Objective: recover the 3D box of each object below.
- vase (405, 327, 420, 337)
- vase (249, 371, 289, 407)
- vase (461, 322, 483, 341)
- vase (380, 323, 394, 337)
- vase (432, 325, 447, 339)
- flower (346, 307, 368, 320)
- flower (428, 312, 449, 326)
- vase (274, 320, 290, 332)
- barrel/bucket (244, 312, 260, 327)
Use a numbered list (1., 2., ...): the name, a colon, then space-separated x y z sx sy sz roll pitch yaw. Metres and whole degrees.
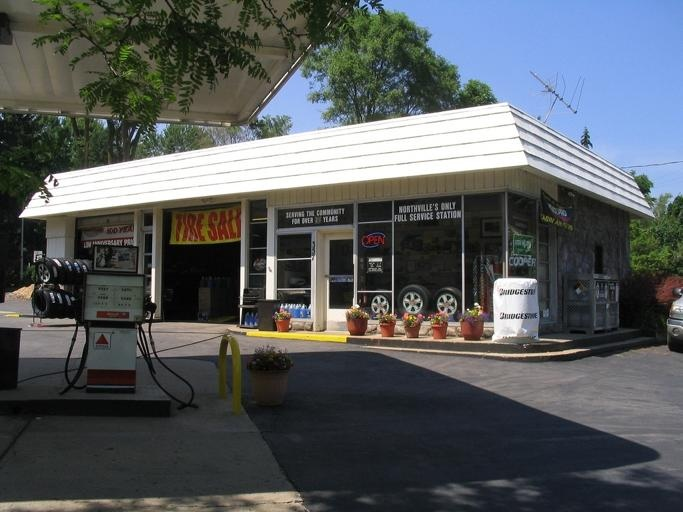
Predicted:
1. vase: 1.904 1.990 15.622 0.289 0.241 0.296 1 -8 4
2. vase: -1.106 1.988 9.157 0.514 0.417 0.510 1 -2 -42
3. vase: 3.368 1.913 15.086 0.466 0.372 0.480 -9 -18 40
4. vase: 1.260 1.997 16.142 0.339 0.282 0.358 -3 -7 30
5. vase: 2.555 1.922 15.236 0.335 0.284 0.360 0 -7 6
6. flower: 0.446 1.595 16.573 0.381 0.246 0.394 4 -2 -24
7. flower: 2.570 1.623 15.405 0.311 0.242 0.335 0 -17 8
8. vase: -1.772 2.100 18.053 0.371 0.314 0.395 1 -8 -6
9. barrel/bucket: -2.890 2.026 18.991 0.372 0.394 0.574 1 1 -13
